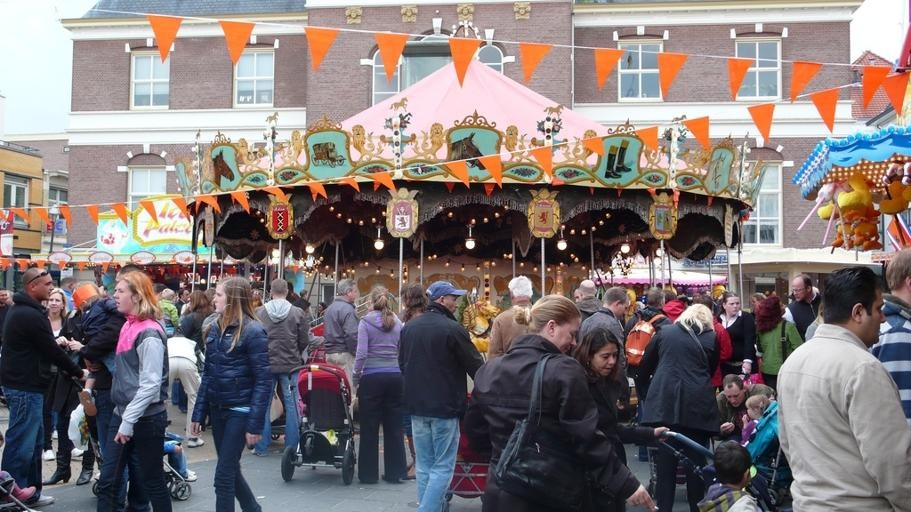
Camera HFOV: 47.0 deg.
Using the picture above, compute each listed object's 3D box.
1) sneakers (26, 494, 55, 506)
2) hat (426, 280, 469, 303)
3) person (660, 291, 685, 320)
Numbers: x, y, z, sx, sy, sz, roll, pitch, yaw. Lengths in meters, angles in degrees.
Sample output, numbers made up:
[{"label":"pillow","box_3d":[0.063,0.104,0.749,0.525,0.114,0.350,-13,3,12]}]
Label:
[{"label":"sneakers","box_3d":[-8.464,4.974,21.354,0.518,0.205,0.202,1,-1,-19]},{"label":"hat","box_3d":[-0.209,0.688,21.075,0.636,0.289,0.377,-3,2,-10]},{"label":"person","box_3d":[4.829,1.125,23.209,0.583,0.261,0.717,-3,-25,9]}]
